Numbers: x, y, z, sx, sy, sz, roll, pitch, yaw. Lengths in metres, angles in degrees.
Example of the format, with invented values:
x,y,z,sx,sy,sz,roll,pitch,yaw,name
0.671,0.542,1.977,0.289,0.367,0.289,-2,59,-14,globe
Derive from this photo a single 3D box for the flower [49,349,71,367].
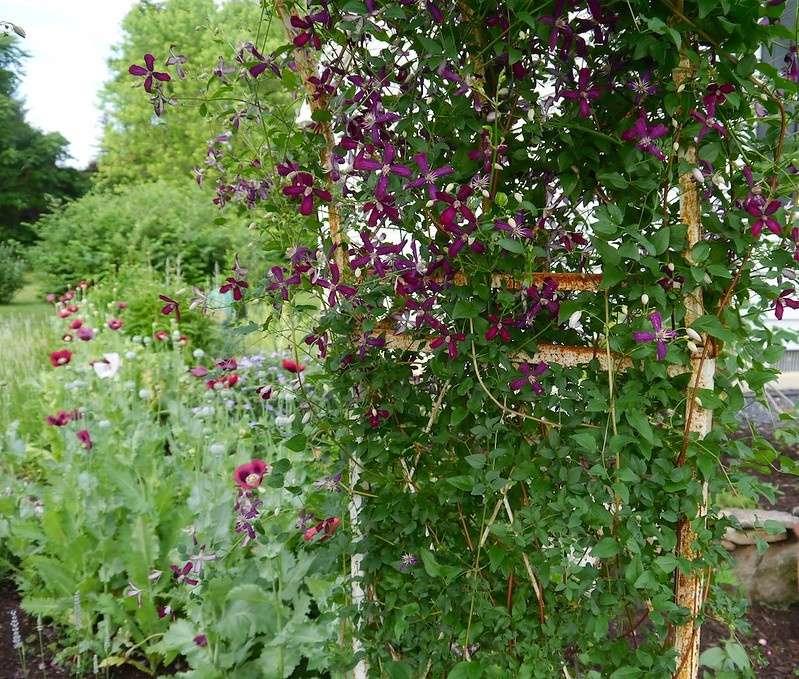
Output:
x,y,z,sx,sy,sz,roll,pitch,yaw,name
-1.386,0.073,3.315,0.081,0.033,0.080,22,-45,-40,flower

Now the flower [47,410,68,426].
x,y,z,sx,sy,sz,roll,pitch,yaw,name
-1.316,0.304,3.130,0.071,0.041,0.085,7,6,-7,flower
